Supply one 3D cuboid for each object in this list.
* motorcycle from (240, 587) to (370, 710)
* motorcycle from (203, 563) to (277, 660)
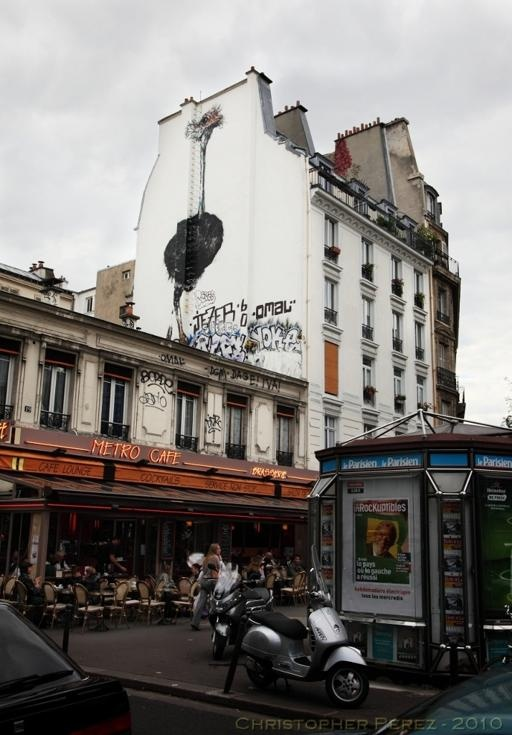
[{"bbox_3d":[0.442,2.987,7.667,1.634,1.082,0.608,-11,-19,44],"label":"motorcycle"},{"bbox_3d":[-0.337,3.618,10.540,0.703,1.267,1.800,-3,-13,18],"label":"motorcycle"}]
